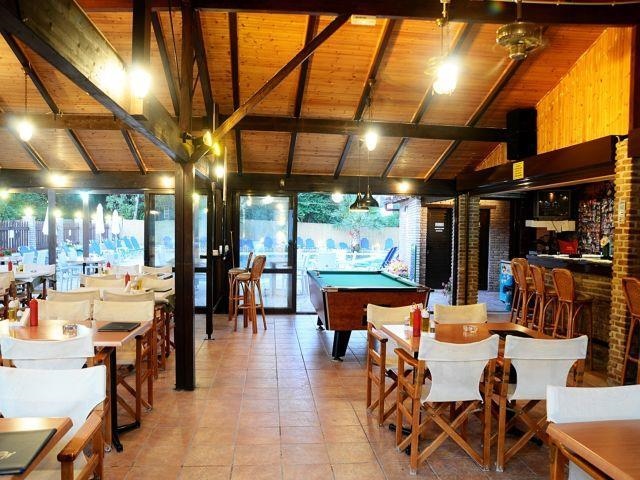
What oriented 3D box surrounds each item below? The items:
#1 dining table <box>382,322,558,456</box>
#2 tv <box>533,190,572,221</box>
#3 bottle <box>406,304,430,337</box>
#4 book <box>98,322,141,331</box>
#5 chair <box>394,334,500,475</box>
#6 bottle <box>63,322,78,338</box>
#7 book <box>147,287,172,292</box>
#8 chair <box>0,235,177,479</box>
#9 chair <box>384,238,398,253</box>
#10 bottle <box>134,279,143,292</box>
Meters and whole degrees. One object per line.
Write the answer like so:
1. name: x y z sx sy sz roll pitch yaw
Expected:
1. dining table: 1.431 1.524 5.209 1.868 0.947 1.032 -1 0 -8
2. tv: 5.524 -0.778 11.588 1.047 0.923 0.581 -1 -2 34
3. bottle: 1.055 0.851 5.193 0.303 0.513 0.266 -1 2 11
4. book: -2.098 0.916 5.105 0.400 0.069 0.363 -1 -2 1
5. chair: 1.200 1.536 4.817 0.920 1.331 0.970 0 -1 -25
6. bottle: -2.493 0.901 4.842 0.125 0.125 0.127 0 -2 -3
7. book: -2.483 0.781 7.609 0.190 0.035 0.140 3 13 -1
8. chair: -2.415 1.477 5.213 1.238 1.187 1.582 0 2 -3
9. chair: 2.783 0.133 19.134 0.489 0.514 0.777 -1 -1 9
10. bottle: -2.571 0.650 6.967 0.132 0.155 0.135 -1 -6 11
